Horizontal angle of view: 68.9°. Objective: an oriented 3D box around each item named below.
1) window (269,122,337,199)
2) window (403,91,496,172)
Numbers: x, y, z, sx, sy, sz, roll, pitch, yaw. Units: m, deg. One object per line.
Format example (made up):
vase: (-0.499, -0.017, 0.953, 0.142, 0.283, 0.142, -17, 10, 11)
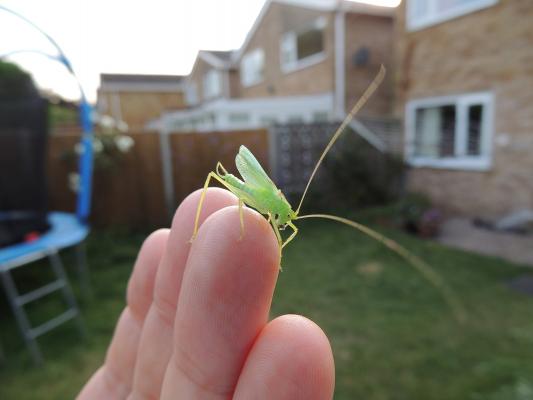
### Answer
window: (0.683, -0.761, 7.151, 1.303, 1.826, 0.132, 0, 4, -5)
window: (1.091, -0.380, 2.285, 0.436, 0.493, 0.048, 2, -2, 38)
